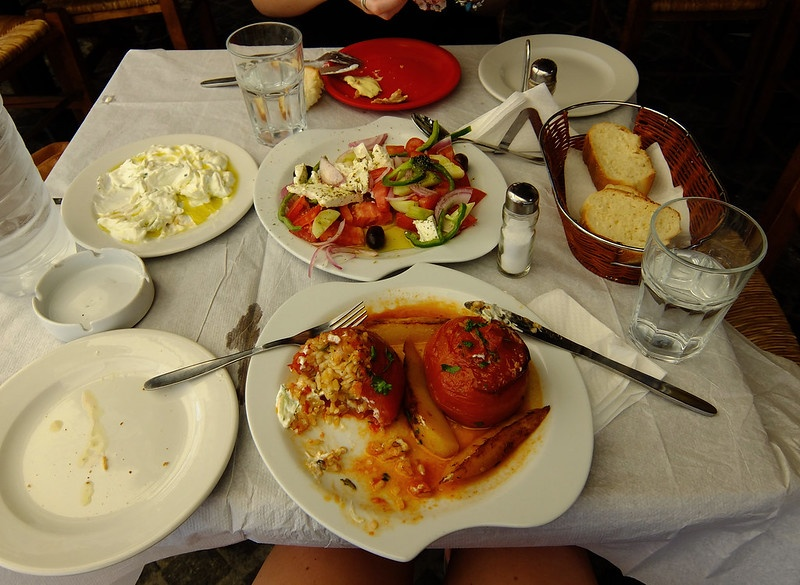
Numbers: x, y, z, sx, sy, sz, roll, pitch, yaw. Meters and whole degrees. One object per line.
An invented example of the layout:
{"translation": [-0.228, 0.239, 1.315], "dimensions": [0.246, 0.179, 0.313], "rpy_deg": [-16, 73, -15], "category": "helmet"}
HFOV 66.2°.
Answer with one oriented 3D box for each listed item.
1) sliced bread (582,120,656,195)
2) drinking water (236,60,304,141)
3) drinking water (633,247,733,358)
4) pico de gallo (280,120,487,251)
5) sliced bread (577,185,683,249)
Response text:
{"translation": [0.615, -0.374, 1.736], "dimensions": [0.167, 0.078, 0.273], "rpy_deg": [-1, 50, -2], "category": "sliced bread"}
{"translation": [-0.384, -0.583, 1.893], "dimensions": [0.166, 0.276, 0.178], "rpy_deg": [-15, 34, -21], "category": "drinking water"}
{"translation": [0.613, 0.041, 1.407], "dimensions": [0.167, 0.272, 0.206], "rpy_deg": [15, 51, 16], "category": "drinking water"}
{"translation": [-0.145, -0.308, 1.822], "dimensions": [0.710, 0.288, 0.452], "rpy_deg": [-18, 42, -31], "category": "pico de gallo"}
{"translation": [0.586, -0.186, 1.557], "dimensions": [0.191, 0.046, 0.149], "rpy_deg": [28, 63, 18], "category": "sliced bread"}
